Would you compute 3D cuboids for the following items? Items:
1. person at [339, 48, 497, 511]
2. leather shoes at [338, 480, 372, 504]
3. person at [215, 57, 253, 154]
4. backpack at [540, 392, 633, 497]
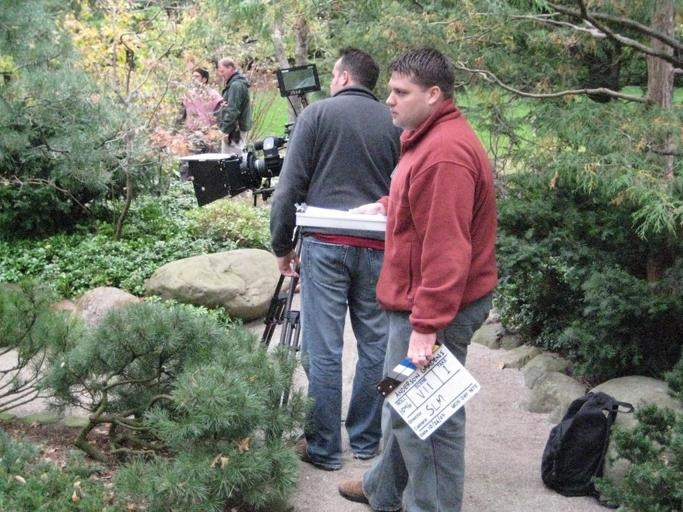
[{"bbox_3d":[0.509,0.226,4.379,0.737,2.811,0.530,4,10,12],"label":"person"},{"bbox_3d":[0.074,1.494,4.889,0.228,0.098,0.094,21,17,32],"label":"leather shoes"},{"bbox_3d":[-1.508,-2.108,10.599,0.387,1.288,0.744,2,10,2],"label":"person"},{"bbox_3d":[1.645,1.266,5.013,0.321,0.572,0.501,30,-9,-27],"label":"backpack"}]
